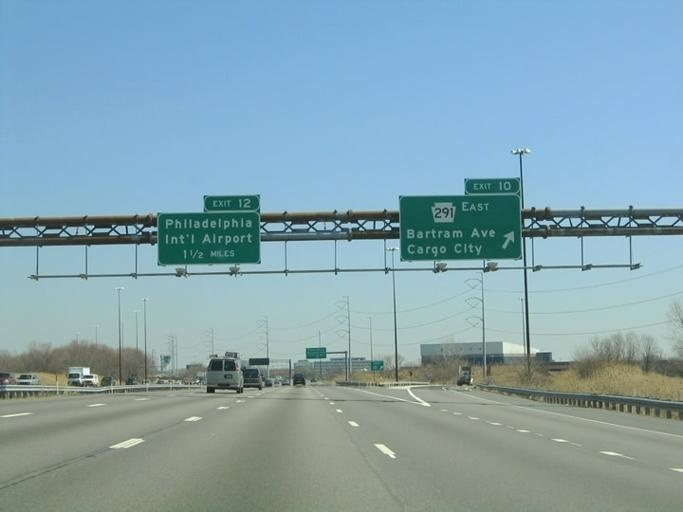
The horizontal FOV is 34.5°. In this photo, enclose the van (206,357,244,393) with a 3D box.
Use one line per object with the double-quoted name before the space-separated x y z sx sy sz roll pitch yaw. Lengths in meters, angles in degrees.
"van" -6.796 6.856 64.216 1.962 2.229 3.194 0 -10 -6
